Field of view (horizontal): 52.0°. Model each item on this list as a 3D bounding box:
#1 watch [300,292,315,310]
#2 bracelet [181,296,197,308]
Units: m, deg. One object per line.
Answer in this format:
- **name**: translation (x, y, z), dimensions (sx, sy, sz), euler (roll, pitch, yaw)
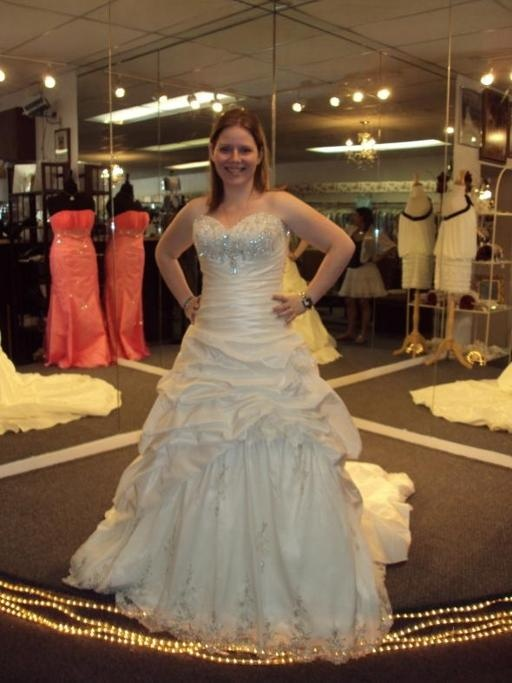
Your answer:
- **watch**: translation (0.172, -0.144, 1.788), dimensions (0.041, 0.056, 0.020), euler (-32, -26, 23)
- **bracelet**: translation (-0.253, -0.157, 1.975), dimensions (0.058, 0.014, 0.056), euler (-39, 18, 20)
